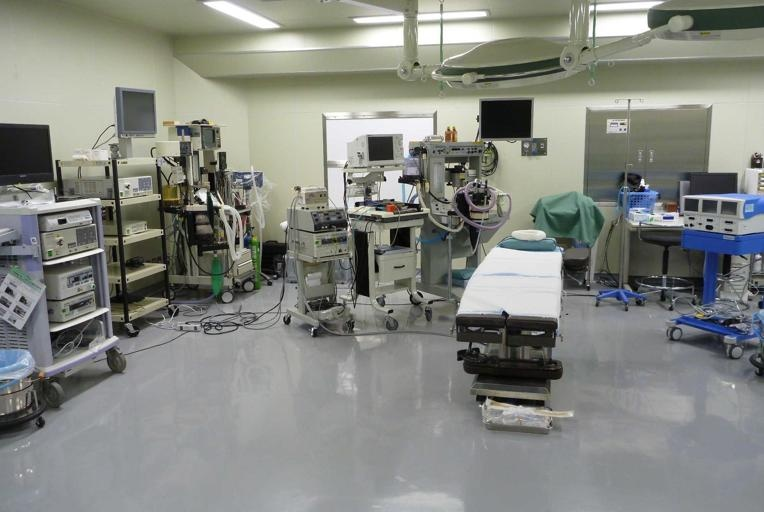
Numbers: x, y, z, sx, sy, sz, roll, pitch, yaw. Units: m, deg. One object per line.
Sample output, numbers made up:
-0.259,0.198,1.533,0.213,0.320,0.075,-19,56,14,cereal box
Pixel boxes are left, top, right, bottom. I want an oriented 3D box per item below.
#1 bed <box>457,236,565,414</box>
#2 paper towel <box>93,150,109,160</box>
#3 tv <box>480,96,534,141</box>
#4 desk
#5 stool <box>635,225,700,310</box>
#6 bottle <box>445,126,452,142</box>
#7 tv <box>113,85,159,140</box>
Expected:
1.095,0.612,4.846,0.816,1.104,1.202,2,12,17,bed
-2.851,-1.029,5.869,0.173,0.115,0.093,1,4,9,paper towel
1.526,-1.674,7.049,0.607,0.425,0.041,0,6,5,tv
3.531,-0.086,7.070,0.752,0.812,0.704,7,9,13,desk
3.528,0.065,7.103,0.677,0.875,1.332,4,13,25,stool
0.794,-1.423,6.754,0.088,0.148,0.266,-1,12,5,bottle
-2.670,-1.544,6.268,0.190,0.523,0.559,2,13,20,tv
